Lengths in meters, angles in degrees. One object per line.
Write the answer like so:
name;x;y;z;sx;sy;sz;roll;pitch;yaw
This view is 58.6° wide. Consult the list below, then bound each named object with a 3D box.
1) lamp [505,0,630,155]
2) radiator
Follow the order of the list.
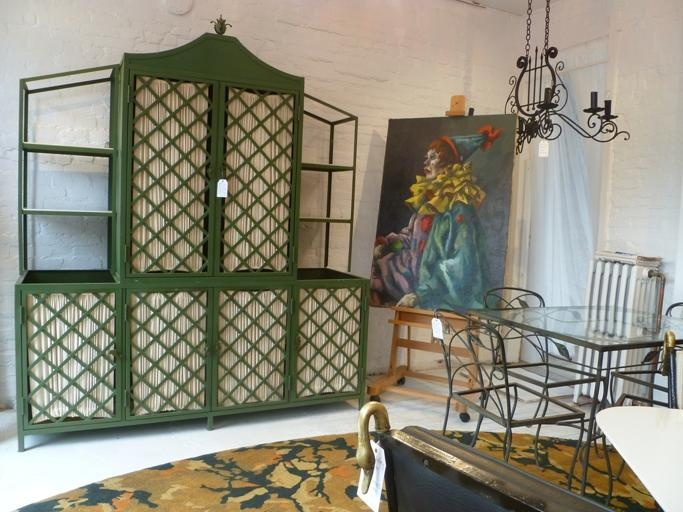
lamp;1.953;-1.507;5.133;0.628;1.618;1.708;-4;-1;31
radiator;2.231;0.543;4.825;0.754;1.236;0.407;6;7;40
